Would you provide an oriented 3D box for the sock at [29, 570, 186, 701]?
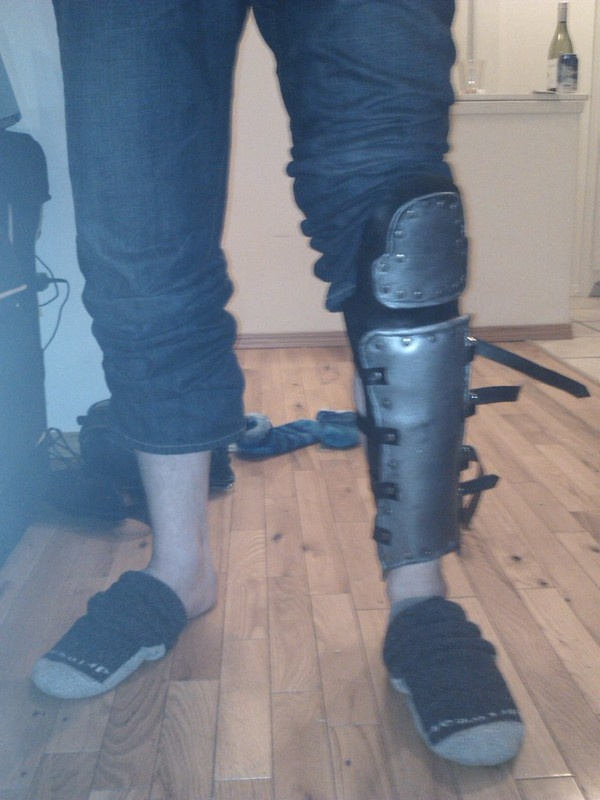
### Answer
[{"bbox_3d":[-0.198,0.243,0.732,0.088,0.052,0.147,34,50,18],"label":"sock"}]

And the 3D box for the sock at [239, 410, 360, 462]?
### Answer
[{"bbox_3d":[0.006,0.073,1.367,0.206,0.055,0.103,-22,39,-24],"label":"sock"}]

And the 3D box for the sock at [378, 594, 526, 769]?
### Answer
[{"bbox_3d":[0.129,0.246,0.625,0.104,0.054,0.155,-3,34,-11],"label":"sock"}]
